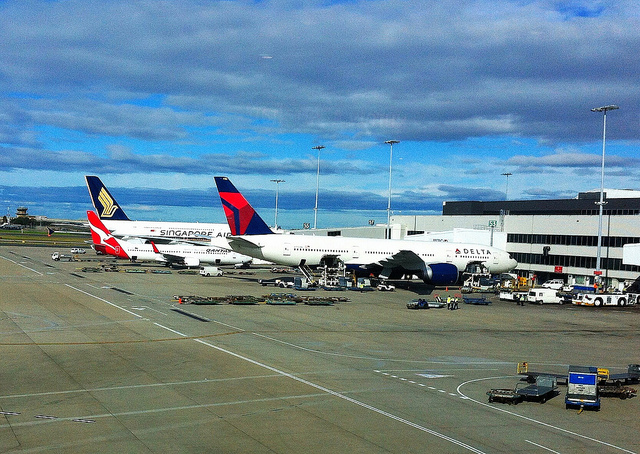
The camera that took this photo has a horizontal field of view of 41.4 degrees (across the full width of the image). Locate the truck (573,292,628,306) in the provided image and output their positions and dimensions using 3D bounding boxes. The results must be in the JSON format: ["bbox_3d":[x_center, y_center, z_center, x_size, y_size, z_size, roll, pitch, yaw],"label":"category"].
[{"bbox_3d":[24.585,6.250,72.926,4.257,0.475,1.717,-1,2,-5],"label":"truck"}]

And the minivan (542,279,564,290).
[{"bbox_3d":[23.293,5.734,83.850,2.695,0.675,1.143,1,-2,-2],"label":"minivan"}]

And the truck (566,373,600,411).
[{"bbox_3d":[13.095,8.054,42.233,1.947,0.978,2.415,0,0,20],"label":"truck"}]

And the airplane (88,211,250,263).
[{"bbox_3d":[-18.347,1.662,98.825,16.058,2.949,9.032,1,4,4],"label":"airplane"}]

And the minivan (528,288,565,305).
[{"bbox_3d":[19.617,6.044,73.051,2.755,0.925,1.069,2,-1,-23],"label":"minivan"}]

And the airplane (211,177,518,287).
[{"bbox_3d":[4.525,2.297,78.795,24.242,4.067,13.880,0,4,-14],"label":"airplane"}]
